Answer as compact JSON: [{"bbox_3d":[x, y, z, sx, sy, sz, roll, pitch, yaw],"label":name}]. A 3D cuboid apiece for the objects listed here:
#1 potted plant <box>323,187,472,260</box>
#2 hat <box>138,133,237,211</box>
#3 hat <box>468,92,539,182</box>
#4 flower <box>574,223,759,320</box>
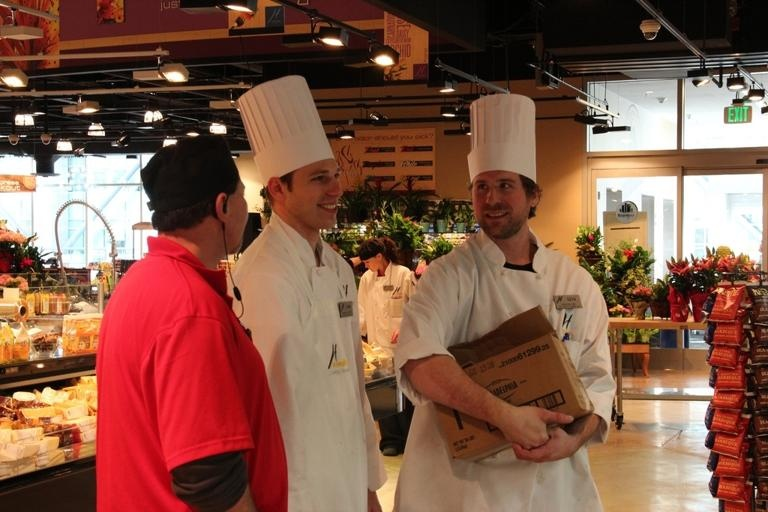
[{"bbox_3d":[0.102,-0.617,10.564,1.355,0.675,1.977,2,3,35],"label":"potted plant"},{"bbox_3d":[-0.674,-0.291,2.359,0.317,0.192,0.221,-31,25,-28],"label":"hat"},{"bbox_3d":[0.536,-0.545,3.287,0.361,0.406,0.396,-1,-13,-1],"label":"hat"},{"bbox_3d":[3.202,0.237,7.776,1.882,1.011,1.576,2,-1,23],"label":"flower"}]
